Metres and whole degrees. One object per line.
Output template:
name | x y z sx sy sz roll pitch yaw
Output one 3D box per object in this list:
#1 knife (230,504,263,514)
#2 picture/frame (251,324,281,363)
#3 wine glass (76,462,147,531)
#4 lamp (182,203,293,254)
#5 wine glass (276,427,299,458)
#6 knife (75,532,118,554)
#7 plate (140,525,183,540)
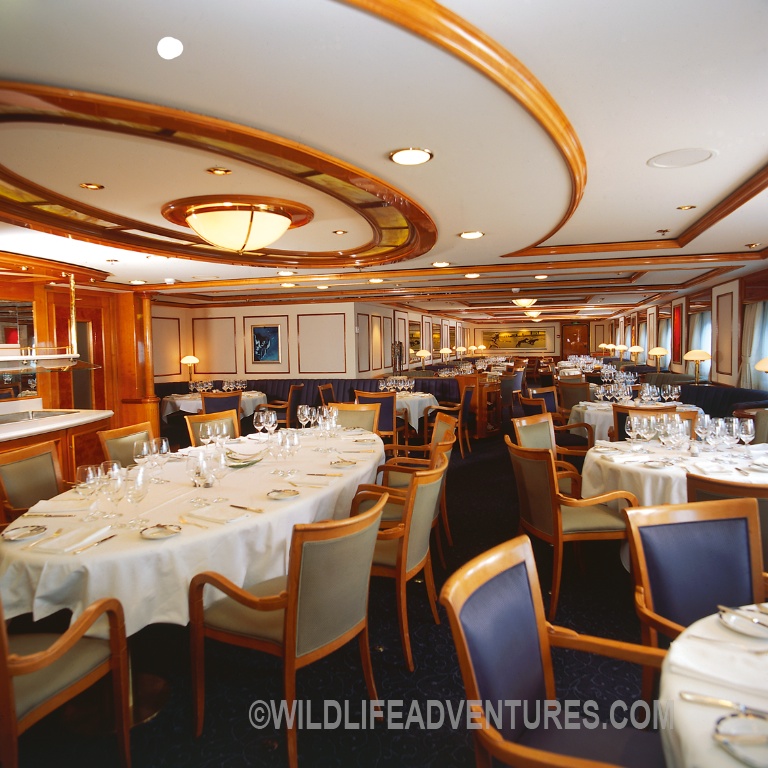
knife | -0.570 0.511 2.420 0.173 0.019 0.044 7 -1 22
picture/frame | -2.107 -0.775 10.454 0.774 0.877 0.064 0 1 0
wine glass | -1.076 0.443 2.350 0.275 0.202 0.280 1 -7 -6
lamp | -0.979 -1.080 3.926 0.662 0.299 0.417 0 -1 -11
wine glass | -0.576 0.330 3.426 0.147 0.153 0.140 3 -12 -18
knife | -1.014 0.553 2.062 0.022 0.008 0.145 7 5 23
plate | -0.829 0.539 2.158 0.144 0.034 0.184 1 -2 -29
